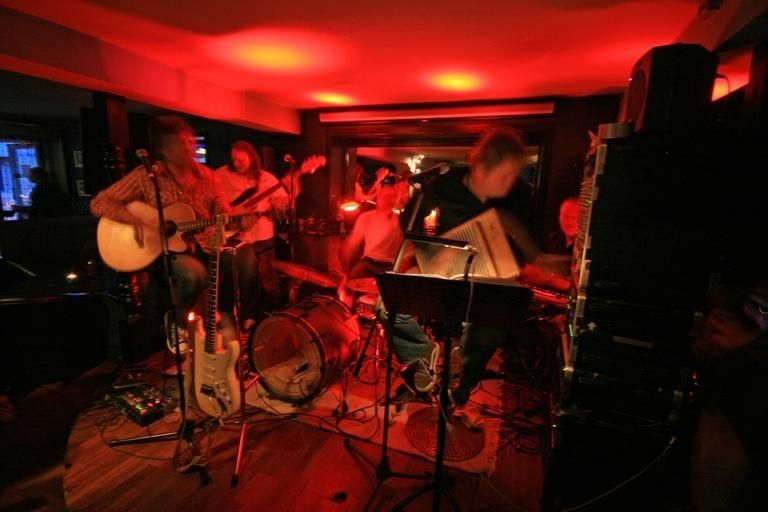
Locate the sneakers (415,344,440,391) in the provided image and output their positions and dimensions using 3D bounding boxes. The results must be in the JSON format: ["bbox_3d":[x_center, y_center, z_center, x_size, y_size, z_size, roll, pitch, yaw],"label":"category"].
[{"bbox_3d":[0.406,1.031,5.561,0.216,0.453,0.189,7,-4,-43],"label":"sneakers"}]

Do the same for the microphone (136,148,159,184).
[{"bbox_3d":[-2.018,-0.776,5.075,0.143,0.259,0.688,-1,10,-22],"label":"microphone"}]

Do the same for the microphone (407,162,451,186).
[{"bbox_3d":[0.394,-0.725,5.085,0.385,0.129,0.152,-18,-40,31],"label":"microphone"}]

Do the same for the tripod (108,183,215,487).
[{"bbox_3d":[-2.144,0.497,5.766,1.167,2.640,0.318,-1,2,3],"label":"tripod"}]

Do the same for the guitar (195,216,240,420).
[{"bbox_3d":[-1.398,0.602,5.268,0.486,1.929,0.386,7,11,19],"label":"guitar"}]

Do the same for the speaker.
[{"bbox_3d":[2.138,-1.233,4.421,0.592,0.631,0.152,4,10,5],"label":"speaker"}]

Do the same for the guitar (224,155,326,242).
[{"bbox_3d":[-1.385,-0.733,7.564,0.224,0.515,1.406,3,19,42],"label":"guitar"}]

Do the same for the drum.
[{"bbox_3d":[-0.781,0.964,5.957,0.796,0.695,0.660,29,23,21],"label":"drum"}]

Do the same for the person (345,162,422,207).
[{"bbox_3d":[-0.159,-0.948,8.245,0.357,0.823,0.880,-6,1,-39],"label":"person"}]
